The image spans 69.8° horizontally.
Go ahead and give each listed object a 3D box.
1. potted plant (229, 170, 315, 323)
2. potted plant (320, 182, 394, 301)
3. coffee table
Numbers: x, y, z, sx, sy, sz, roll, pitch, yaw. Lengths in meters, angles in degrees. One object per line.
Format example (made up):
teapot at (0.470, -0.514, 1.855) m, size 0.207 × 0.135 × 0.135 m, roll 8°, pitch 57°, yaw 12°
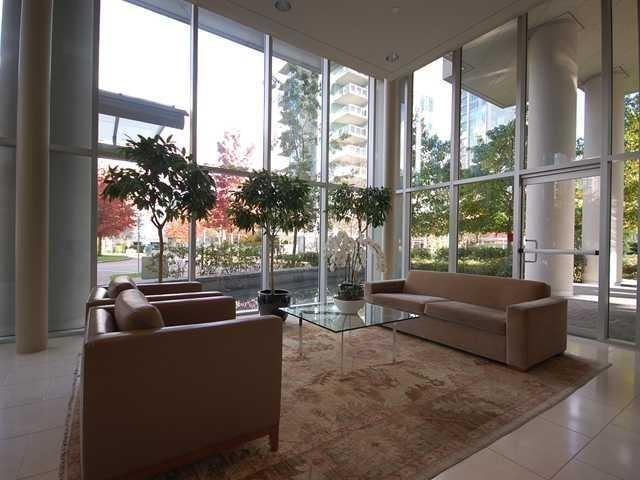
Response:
potted plant at (-0.781, 0.045, 7.484) m, size 1.592 × 2.590 × 1.612 m, roll 2°, pitch -4°, yaw -21°
potted plant at (0.670, 0.038, 8.780) m, size 1.175 × 2.448 × 0.979 m, roll 12°, pitch 13°, yaw 30°
coffee table at (0.257, 1.050, 5.754) m, size 1.005 × 0.527 × 1.011 m, roll -1°, pitch 0°, yaw -35°
